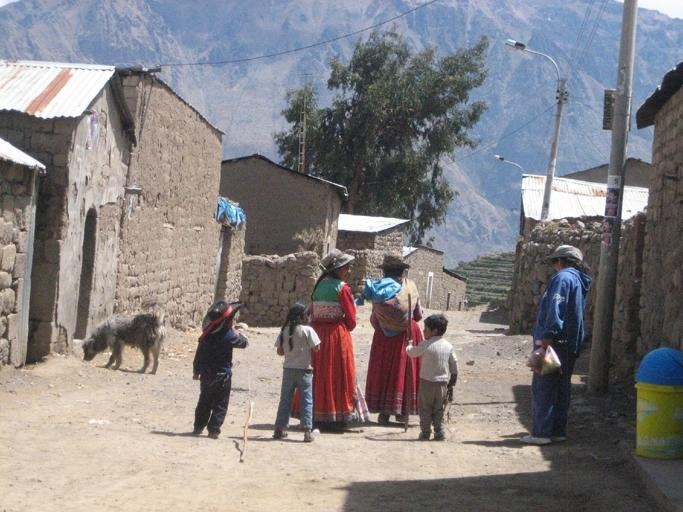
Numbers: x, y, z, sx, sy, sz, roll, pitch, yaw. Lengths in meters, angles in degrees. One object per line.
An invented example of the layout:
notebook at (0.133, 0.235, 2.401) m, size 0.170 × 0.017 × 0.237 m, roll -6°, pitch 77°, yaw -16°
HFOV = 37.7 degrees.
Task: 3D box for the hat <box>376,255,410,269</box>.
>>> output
hat at (0.700, 0.097, 12.809) m, size 0.251 × 0.100 × 0.255 m, roll 5°, pitch -4°, yaw -10°

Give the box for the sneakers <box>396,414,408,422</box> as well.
sneakers at (0.767, 2.096, 12.856) m, size 0.127 × 0.105 × 0.130 m, roll 6°, pitch -9°, yaw -32°

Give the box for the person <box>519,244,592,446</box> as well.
person at (2.507, 1.056, 11.678) m, size 0.505 × 2.260 × 0.816 m, roll 8°, pitch 12°, yaw 33°

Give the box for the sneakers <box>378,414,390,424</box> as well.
sneakers at (0.544, 2.114, 12.903) m, size 0.143 × 0.161 × 0.092 m, roll 1°, pitch 1°, yaw 5°

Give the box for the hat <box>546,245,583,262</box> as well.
hat at (2.659, -0.025, 11.826) m, size 0.323 × 0.167 × 0.257 m, roll 7°, pitch -8°, yaw 12°

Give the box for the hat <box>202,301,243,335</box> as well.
hat at (-1.449, 0.770, 12.046) m, size 0.162 × 0.443 × 0.329 m, roll 45°, pitch 3°, yaw -32°

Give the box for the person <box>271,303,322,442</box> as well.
person at (-0.553, 1.401, 12.088) m, size 0.536 × 1.611 × 0.555 m, roll 1°, pitch 10°, yaw -1°

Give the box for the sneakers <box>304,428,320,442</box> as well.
sneakers at (-0.387, 2.174, 12.108) m, size 0.081 × 0.172 × 0.235 m, roll 1°, pitch 5°, yaw 26°

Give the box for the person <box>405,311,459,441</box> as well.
person at (1.085, 1.471, 12.115) m, size 0.595 × 1.537 × 0.363 m, roll 1°, pitch 10°, yaw -2°

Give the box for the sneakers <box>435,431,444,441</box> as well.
sneakers at (1.195, 2.202, 12.180) m, size 0.105 × 0.087 × 0.090 m, roll 0°, pitch 3°, yaw 19°

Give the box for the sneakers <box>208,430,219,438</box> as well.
sneakers at (-1.543, 2.149, 12.009) m, size 0.136 × 0.079 × 0.114 m, roll -2°, pitch 11°, yaw -16°
